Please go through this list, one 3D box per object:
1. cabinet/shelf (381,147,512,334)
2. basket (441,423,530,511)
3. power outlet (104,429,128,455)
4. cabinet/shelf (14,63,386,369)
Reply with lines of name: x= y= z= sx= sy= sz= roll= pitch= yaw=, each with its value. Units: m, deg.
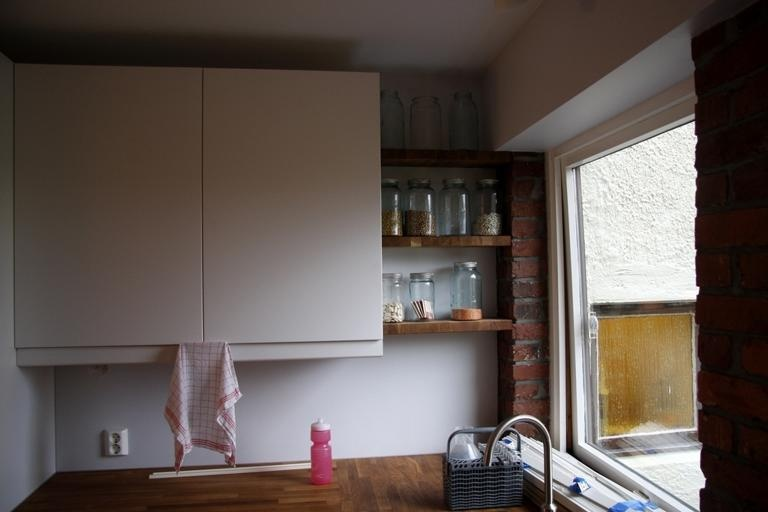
cabinet/shelf: x=0.307 y=-0.078 z=3.081 sx=0.961 sy=0.936 sz=0.298 roll=1 pitch=-4 yaw=-3
basket: x=0.436 y=0.983 z=2.804 sx=0.407 sy=0.402 sz=0.400 roll=1 pitch=-12 yaw=-3
power outlet: x=-1.364 y=0.960 z=2.991 sx=0.124 sy=0.127 sz=0.041 roll=-1 pitch=-5 yaw=-9
cabinet/shelf: x=-0.906 y=-0.172 z=2.711 sx=1.357 sy=1.143 sz=0.443 roll=0 pitch=-7 yaw=-4
